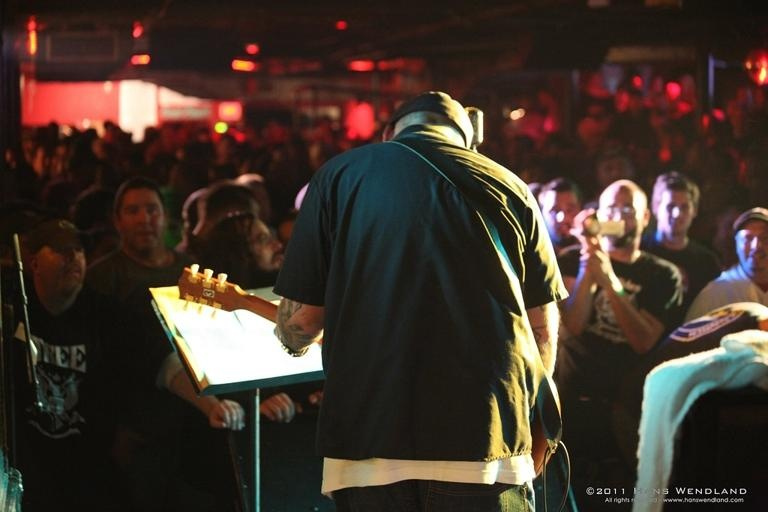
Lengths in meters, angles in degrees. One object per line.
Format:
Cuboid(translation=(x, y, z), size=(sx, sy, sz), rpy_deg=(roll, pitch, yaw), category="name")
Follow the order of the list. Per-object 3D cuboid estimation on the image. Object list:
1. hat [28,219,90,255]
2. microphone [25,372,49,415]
Cuboid(translation=(-1.880, -0.108, 5.370), size=(0.182, 0.199, 0.236), rpy_deg=(-26, 10, 3), category="hat")
Cuboid(translation=(-1.949, 0.791, 5.285), size=(0.058, 0.184, 0.180), rpy_deg=(-10, -43, 30), category="microphone")
